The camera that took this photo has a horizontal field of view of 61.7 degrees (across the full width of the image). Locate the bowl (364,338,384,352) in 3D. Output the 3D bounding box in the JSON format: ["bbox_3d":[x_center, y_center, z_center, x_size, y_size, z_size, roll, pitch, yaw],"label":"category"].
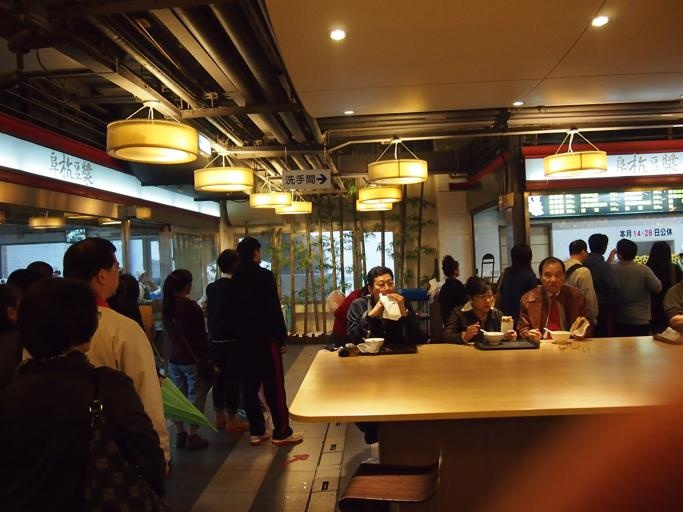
[{"bbox_3d":[0.248,0.623,4.089,0.107,0.069,0.104,1,1,0],"label":"bowl"}]

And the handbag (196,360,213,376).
[{"bbox_3d":[-1.232,1.016,5.235,0.092,0.150,0.154,-15,-29,-9],"label":"handbag"}]

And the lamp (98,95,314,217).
[{"bbox_3d":[-1.330,-0.962,5.192,0.892,0.807,2.346,-3,9,-2],"label":"lamp"}]

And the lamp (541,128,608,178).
[{"bbox_3d":[2.406,-1.059,5.893,0.649,0.536,0.667,-2,-3,31],"label":"lamp"}]

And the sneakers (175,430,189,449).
[{"bbox_3d":[-1.451,1.676,5.277,0.066,0.133,0.189,1,0,5],"label":"sneakers"}]

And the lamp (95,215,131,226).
[{"bbox_3d":[-2.782,-0.435,6.975,0.216,0.142,0.672,-3,9,0],"label":"lamp"}]

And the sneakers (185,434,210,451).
[{"bbox_3d":[-1.304,1.668,5.142,0.185,0.123,0.101,0,0,-17],"label":"sneakers"}]

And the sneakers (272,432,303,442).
[{"bbox_3d":[-0.484,1.631,5.163,0.272,0.111,0.101,-2,-1,-16],"label":"sneakers"}]

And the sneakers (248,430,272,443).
[{"bbox_3d":[-0.742,1.635,5.218,0.075,0.085,0.214,1,1,35],"label":"sneakers"}]

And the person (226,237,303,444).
[{"bbox_3d":[-0.674,0.766,5.101,0.533,1.858,0.403,-2,8,5],"label":"person"}]

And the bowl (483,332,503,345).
[{"bbox_3d":[1.121,0.603,4.213,0.086,0.074,0.109,-2,-11,6],"label":"bowl"}]

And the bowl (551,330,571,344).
[{"bbox_3d":[1.629,0.591,4.215,0.113,0.055,0.110,0,-1,0],"label":"bowl"}]
